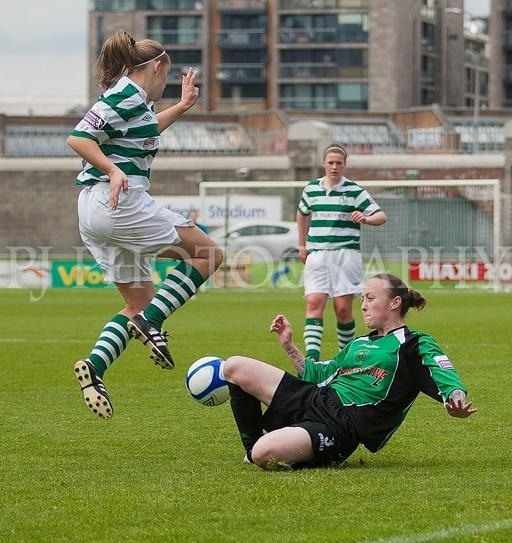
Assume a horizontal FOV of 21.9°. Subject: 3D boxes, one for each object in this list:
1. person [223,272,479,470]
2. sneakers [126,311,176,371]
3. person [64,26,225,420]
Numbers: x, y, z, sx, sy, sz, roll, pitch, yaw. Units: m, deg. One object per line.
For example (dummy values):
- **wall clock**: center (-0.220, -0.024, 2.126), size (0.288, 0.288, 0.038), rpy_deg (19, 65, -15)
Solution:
- **person**: center (0.457, 0.527, 7.050), size (1.291, 1.021, 0.769), rpy_deg (0, 1, 7)
- **sneakers**: center (-0.607, 0.413, 7.680), size (0.254, 0.327, 0.294), rpy_deg (0, 1, -5)
- **person**: center (-0.710, -0.294, 7.799), size (0.933, 2.313, 0.646), rpy_deg (-1, 1, -39)
